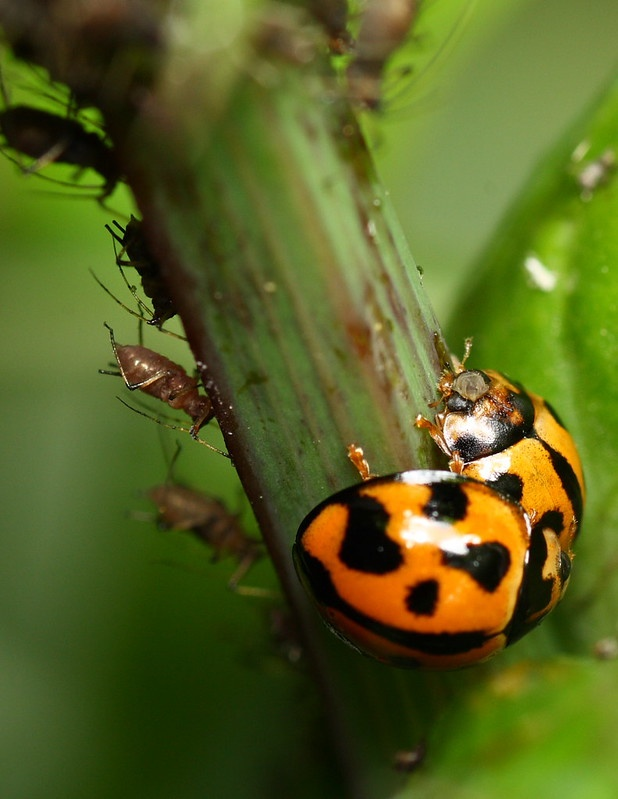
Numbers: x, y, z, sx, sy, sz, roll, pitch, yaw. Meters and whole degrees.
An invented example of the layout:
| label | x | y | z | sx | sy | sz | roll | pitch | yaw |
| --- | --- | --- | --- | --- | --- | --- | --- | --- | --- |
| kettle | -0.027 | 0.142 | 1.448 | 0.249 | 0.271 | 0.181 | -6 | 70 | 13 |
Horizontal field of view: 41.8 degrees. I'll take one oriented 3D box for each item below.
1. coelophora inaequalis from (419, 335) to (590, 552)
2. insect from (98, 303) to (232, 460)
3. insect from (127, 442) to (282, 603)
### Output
| label | x | y | z | sx | sy | sz | roll | pitch | yaw |
| --- | --- | --- | --- | --- | --- | --- | --- | --- | --- |
| coelophora inaequalis | 0.255 | 0.069 | 1.014 | 0.098 | 0.265 | 0.210 | -35 | 18 | 37 |
| insect | -0.158 | -0.044 | 1.300 | 0.212 | 0.258 | 0.071 | -9 | 43 | 57 |
| insect | -0.215 | 0.252 | 1.700 | 0.079 | 0.289 | 0.276 | -60 | 14 | -13 |
